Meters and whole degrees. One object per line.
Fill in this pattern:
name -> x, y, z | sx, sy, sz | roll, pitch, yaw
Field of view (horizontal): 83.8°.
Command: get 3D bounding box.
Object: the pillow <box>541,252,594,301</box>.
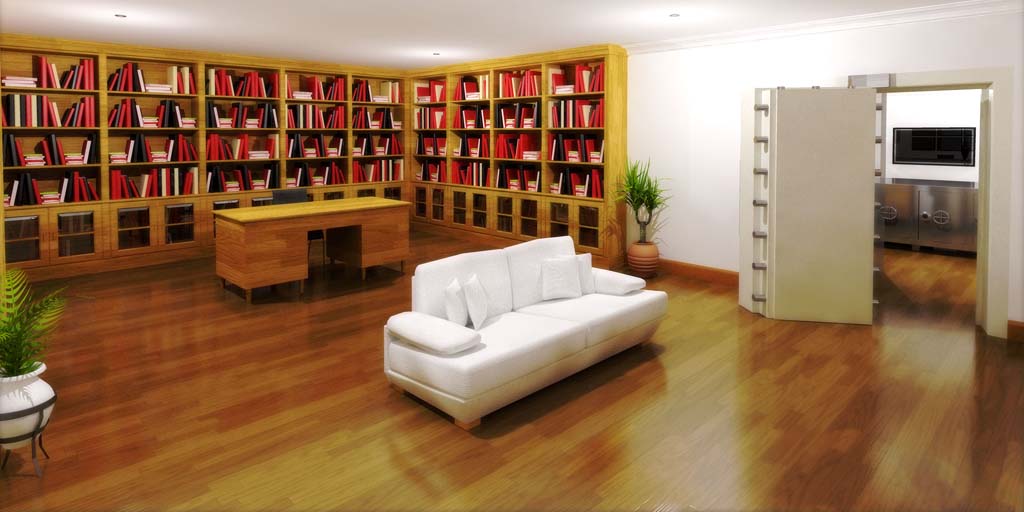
pillow -> 0.775, 0.275, 7.212 | 0.780, 0.551, 0.202 | 0, -2, -12

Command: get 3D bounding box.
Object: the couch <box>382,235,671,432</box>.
couch -> 0.313, 0.701, 7.390 | 3.871, 1.230, 1.692 | -12, 26, -43

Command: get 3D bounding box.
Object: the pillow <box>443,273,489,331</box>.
pillow -> -0.568, 0.568, 6.780 | 0.406, 0.584, 0.747 | -4, 3, 39

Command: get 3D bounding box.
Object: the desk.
desk -> -3.239, -0.255, 9.429 | 1.106, 0.999, 2.805 | 14, 19, 42
